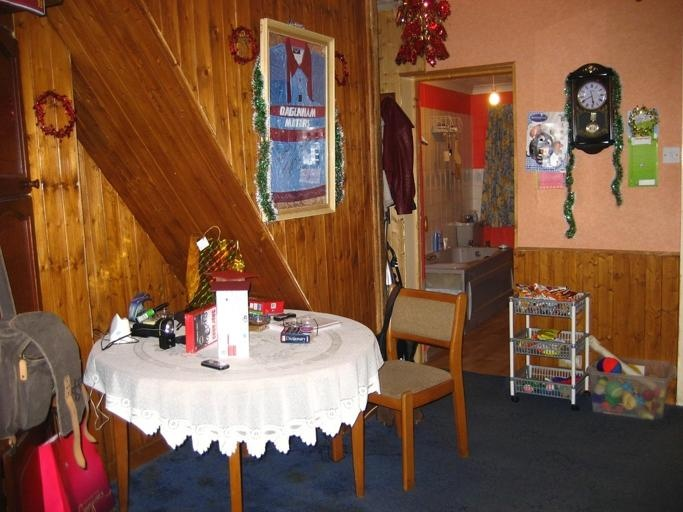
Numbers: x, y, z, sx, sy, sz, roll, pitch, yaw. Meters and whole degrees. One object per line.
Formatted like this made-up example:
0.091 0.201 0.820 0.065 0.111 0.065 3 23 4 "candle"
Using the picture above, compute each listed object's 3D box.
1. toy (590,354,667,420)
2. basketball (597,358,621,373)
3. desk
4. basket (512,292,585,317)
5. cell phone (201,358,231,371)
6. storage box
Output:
2.171 0.967 4.375 0.473 0.281 0.369 1 4 28 "toy"
2.017 0.814 4.354 0.112 0.127 0.116 21 29 24 "basketball"
-0.426 0.351 2.987 1.037 0.668 1.100 6 17 23 "desk"
1.579 0.399 4.538 0.332 0.101 0.275 1 3 35 "basket"
-0.632 0.538 2.915 0.100 0.027 0.062 3 6 25 "cell phone"
2.191 0.947 4.374 0.504 0.302 0.379 0 4 27 "storage box"
